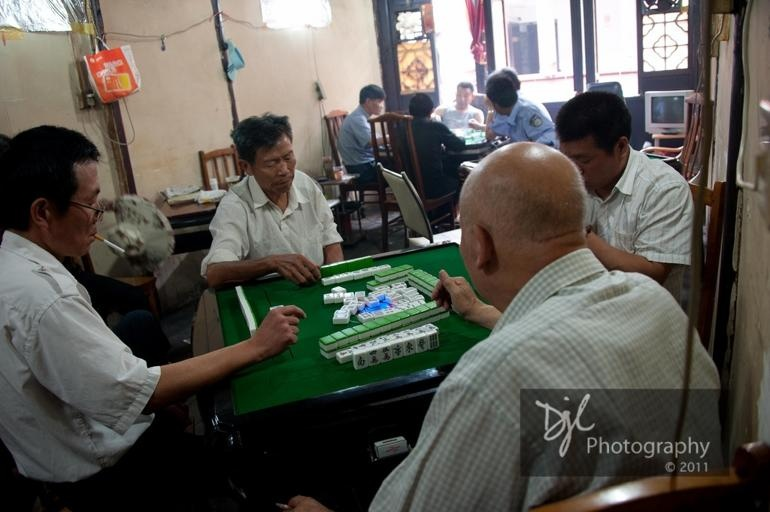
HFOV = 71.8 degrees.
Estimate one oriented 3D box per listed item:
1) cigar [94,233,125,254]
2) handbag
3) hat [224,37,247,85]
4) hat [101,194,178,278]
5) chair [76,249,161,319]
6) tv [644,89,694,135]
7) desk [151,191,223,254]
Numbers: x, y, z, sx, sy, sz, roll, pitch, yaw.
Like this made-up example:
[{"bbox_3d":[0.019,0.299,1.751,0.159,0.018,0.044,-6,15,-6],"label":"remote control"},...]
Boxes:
[{"bbox_3d":[-1.513,-0.067,2.881,0.176,0.041,0.047,39,24,17],"label":"cigar"},{"bbox_3d":[-2.320,-1.535,4.493,0.157,0.447,0.454,11,33,41],"label":"handbag"},{"bbox_3d":[-1.685,-2.156,5.862,0.127,0.383,0.277,4,30,-14],"label":"hat"},{"bbox_3d":[-1.061,-0.115,2.305,0.317,0.350,0.124,-11,-15,-35],"label":"hat"},{"bbox_3d":[-1.755,0.187,3.456,0.390,0.595,0.422,0,21,-3],"label":"chair"},{"bbox_3d":[3.489,-1.726,6.642,0.576,0.540,0.317,-1,0,1],"label":"tv"},{"bbox_3d":[-1.673,-0.315,4.551,0.485,0.317,0.686,-7,35,-13],"label":"desk"}]
